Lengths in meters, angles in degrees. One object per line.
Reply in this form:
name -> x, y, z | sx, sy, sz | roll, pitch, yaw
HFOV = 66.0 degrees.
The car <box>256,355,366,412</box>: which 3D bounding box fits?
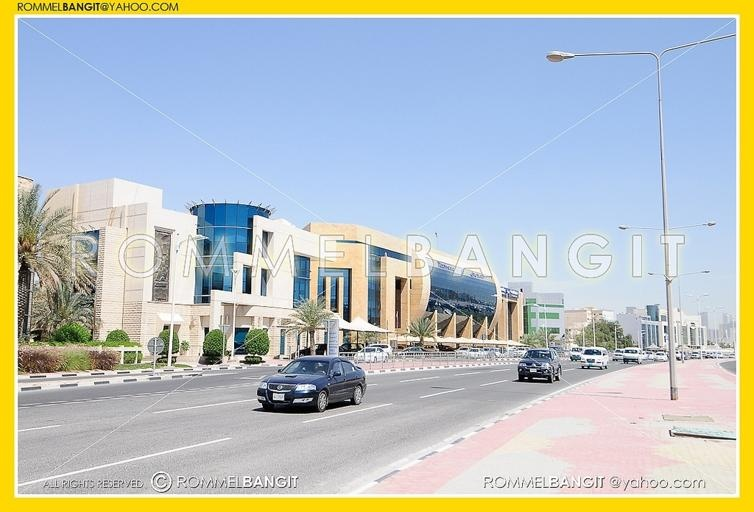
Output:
car -> -2.076, 4.226, 19.400 | 1.724, 1.705, 3.561 | -4, -11, 32
